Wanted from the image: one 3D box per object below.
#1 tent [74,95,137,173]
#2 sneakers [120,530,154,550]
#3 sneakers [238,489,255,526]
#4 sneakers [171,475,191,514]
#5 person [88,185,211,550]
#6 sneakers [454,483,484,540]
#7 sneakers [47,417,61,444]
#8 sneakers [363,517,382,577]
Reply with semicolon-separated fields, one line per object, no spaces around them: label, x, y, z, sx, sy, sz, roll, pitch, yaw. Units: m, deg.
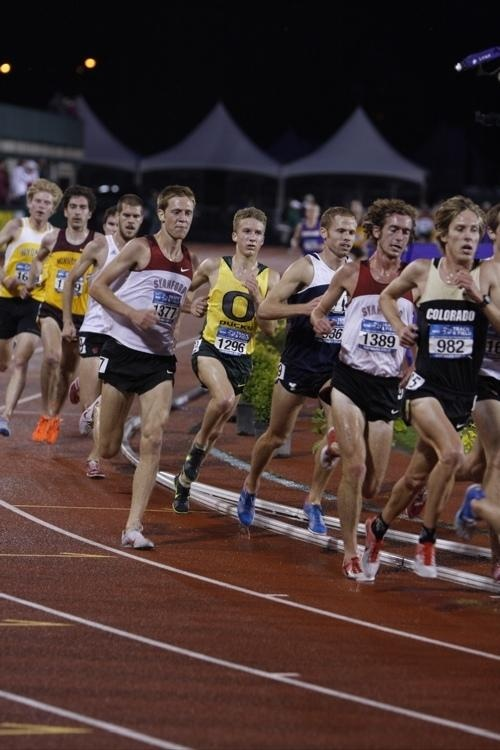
tent;-6.647;-11.174;32.480;2.097;2.268;3.541;-23;40;-32
sneakers;-0.753;1.100;4.713;0.105;0.111;0.276;3;-9;-35
sneakers;-0.033;1.043;5.556;0.115;0.312;0.130;-3;2;-18
sneakers;-0.569;1.010;5.852;0.120;0.231;0.343;6;14;-13
person;-0.750;-0.217;4.770;0.624;2.163;0.668;2;-4;10
sneakers;1.150;0.741;3.752;0.118;0.328;0.143;18;41;9
sneakers;-2.243;0.620;7.998;0.207;0.331;0.092;10;-13;-31
sneakers;0.730;1.049;4.279;0.125;0.340;0.140;-4;11;-6
